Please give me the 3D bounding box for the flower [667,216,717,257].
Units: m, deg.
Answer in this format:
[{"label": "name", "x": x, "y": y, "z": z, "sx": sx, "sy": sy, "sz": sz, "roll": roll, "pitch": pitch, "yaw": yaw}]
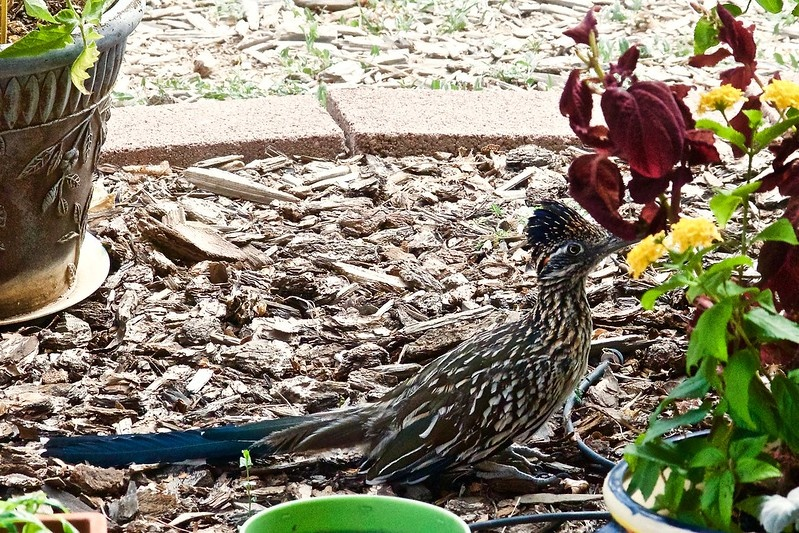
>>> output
[{"label": "flower", "x": 0.521, "y": -0.052, "z": 1.497, "sx": 0.087, "sy": 0.049, "sz": 0.082, "roll": -16, "pitch": 21, "yaw": -34}]
